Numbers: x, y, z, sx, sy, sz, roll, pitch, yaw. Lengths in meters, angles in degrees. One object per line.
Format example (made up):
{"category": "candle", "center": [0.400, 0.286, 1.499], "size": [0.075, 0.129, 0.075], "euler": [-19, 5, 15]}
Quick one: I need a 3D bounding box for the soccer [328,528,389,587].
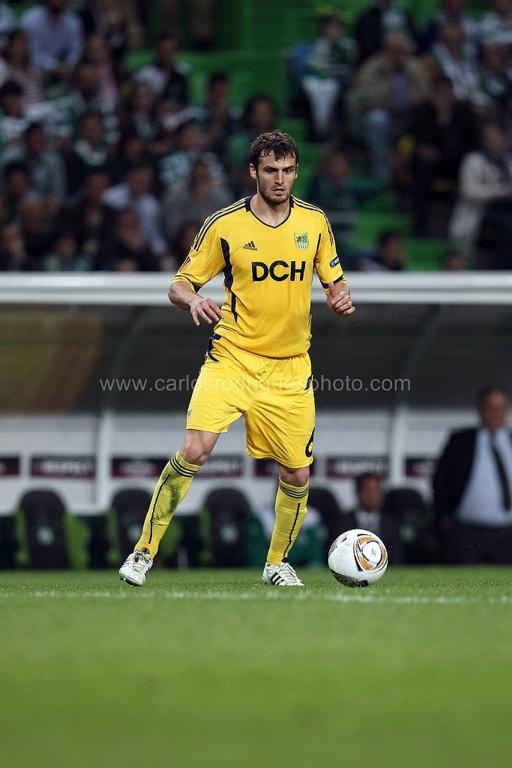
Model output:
{"category": "soccer", "center": [0.442, 0.750, 4.863], "size": [0.257, 0.234, 0.244], "euler": [15, 16, -3]}

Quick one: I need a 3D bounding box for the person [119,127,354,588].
{"category": "person", "center": [-0.058, 0.084, 4.757], "size": [0.923, 1.752, 0.767], "euler": [-1, 29, -1]}

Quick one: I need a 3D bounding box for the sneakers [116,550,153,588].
{"category": "sneakers", "center": [-0.506, 0.779, 4.626], "size": [0.079, 0.099, 0.210], "euler": [37, -5, -5]}

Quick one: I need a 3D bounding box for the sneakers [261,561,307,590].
{"category": "sneakers", "center": [0.123, 0.874, 5.020], "size": [0.082, 0.087, 0.210], "euler": [7, -9, -40]}
